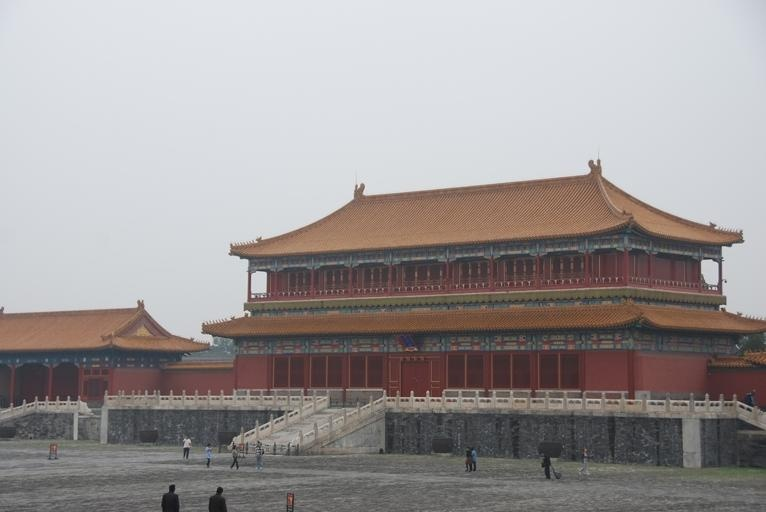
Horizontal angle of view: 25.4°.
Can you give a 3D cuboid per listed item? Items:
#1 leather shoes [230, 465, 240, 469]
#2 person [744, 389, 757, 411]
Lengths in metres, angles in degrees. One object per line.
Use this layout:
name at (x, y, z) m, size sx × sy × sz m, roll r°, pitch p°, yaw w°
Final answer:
leather shoes at (-9.258, 13.154, 104.136) m, size 0.183 × 0.250 × 0.562 m, roll 13°, pitch 0°, yaw -30°
person at (23.579, 9.586, 111.118) m, size 0.748 × 1.650 × 0.645 m, roll -14°, pitch 23°, yaw -26°
